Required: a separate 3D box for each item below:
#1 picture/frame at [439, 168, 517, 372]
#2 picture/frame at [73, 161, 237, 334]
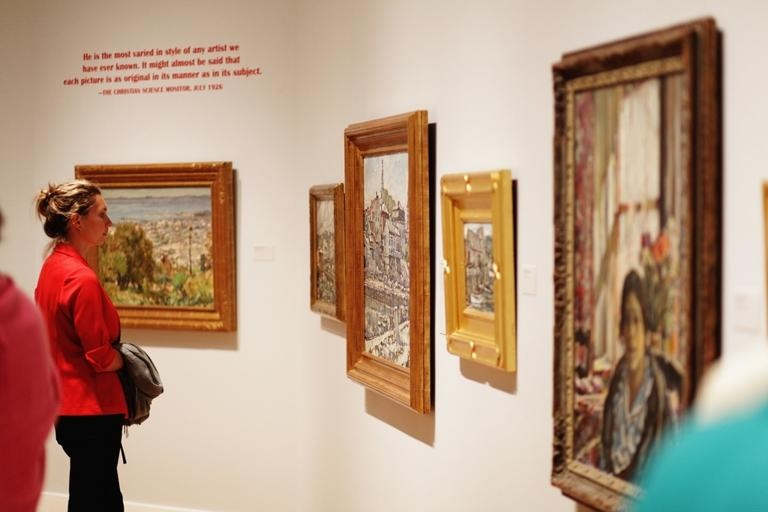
[{"bbox_3d":[0.446,0.072,2.900,0.126,0.926,0.461,-3,5,-29],"label":"picture/frame"},{"bbox_3d":[-1.545,-0.071,4.261,1.171,1.151,0.095,0,2,15],"label":"picture/frame"}]
